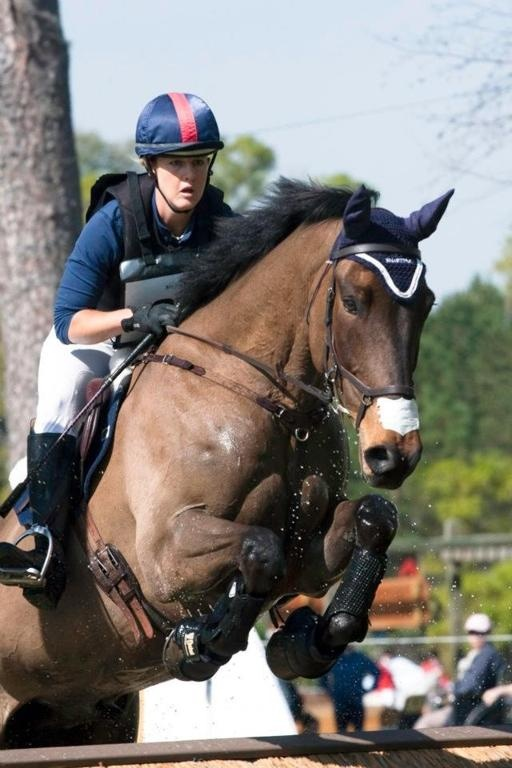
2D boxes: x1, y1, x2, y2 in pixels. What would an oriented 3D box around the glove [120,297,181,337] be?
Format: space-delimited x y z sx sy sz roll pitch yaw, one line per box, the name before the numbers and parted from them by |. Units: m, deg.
glove | -0.389 -0.249 3.881 0.173 0.072 0.124 -5 31 20
